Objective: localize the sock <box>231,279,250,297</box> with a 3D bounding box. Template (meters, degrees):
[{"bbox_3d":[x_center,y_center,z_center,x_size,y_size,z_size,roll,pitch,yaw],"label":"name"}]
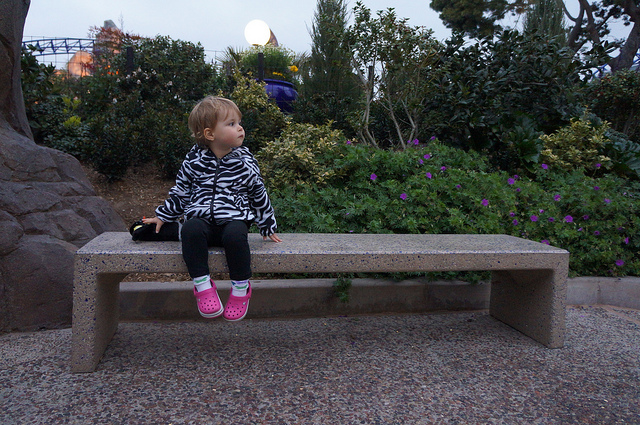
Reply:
[{"bbox_3d":[-0.638,0.612,3.536,0.108,0.138,0.139,0,6,0],"label":"sock"}]

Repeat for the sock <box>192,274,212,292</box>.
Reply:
[{"bbox_3d":[-0.937,0.567,3.498,0.108,0.140,0.139,-32,-5,-27],"label":"sock"}]

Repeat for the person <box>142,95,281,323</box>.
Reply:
[{"bbox_3d":[-0.845,-0.057,3.614,1.002,1.735,0.796,-5,15,-13],"label":"person"}]

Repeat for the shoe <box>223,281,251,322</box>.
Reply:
[{"bbox_3d":[-0.667,0.712,3.549,0.177,0.146,0.418,15,36,1],"label":"shoe"}]

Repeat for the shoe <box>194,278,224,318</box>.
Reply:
[{"bbox_3d":[-0.916,0.677,3.516,0.186,0.144,0.373,-23,48,-16],"label":"shoe"}]
